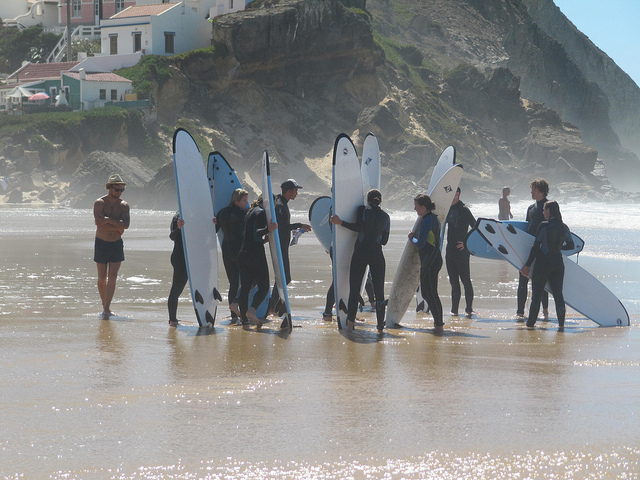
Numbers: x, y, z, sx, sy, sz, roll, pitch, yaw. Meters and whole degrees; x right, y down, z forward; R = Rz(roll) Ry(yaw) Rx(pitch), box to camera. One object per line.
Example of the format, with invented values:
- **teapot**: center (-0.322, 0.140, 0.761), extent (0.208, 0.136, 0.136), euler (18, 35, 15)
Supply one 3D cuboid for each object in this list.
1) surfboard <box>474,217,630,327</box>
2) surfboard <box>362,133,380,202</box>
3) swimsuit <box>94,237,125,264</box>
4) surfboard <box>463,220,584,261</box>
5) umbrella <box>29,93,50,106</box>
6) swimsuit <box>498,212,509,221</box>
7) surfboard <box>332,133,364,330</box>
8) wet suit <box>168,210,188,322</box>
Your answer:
- **surfboard**: center (9.415, 1.509, 49.757), extent (6.337, 1.363, 0.841), euler (37, 8, 5)
- **surfboard**: center (2.068, -2.789, 49.376), extent (0.883, 4.075, 0.411), euler (-12, 43, -5)
- **swimsuit**: center (-8.493, 0.572, 47.927), extent (1.337, 1.168, 0.939), euler (2, -4, -18)
- **surfboard**: center (8.616, 0.151, 48.531), extent (5.543, 1.897, 1.049), euler (7, 20, 21)
- **umbrella**: center (-20.519, -10.172, 86.803), extent (1.020, 0.670, 1.053), euler (-1, -5, 3)
- **swimsuit**: center (8.345, -1.093, 54.646), extent (0.499, 0.423, 0.407), euler (1, 6, 10)
- **surfboard**: center (1.144, -0.490, 47.765), extent (1.600, 6.965, 0.740), euler (-8, 14, -28)
- **wet suit**: center (-5.669, 1.073, 47.561), extent (0.742, 4.300, 0.766), euler (2, 6, -7)
